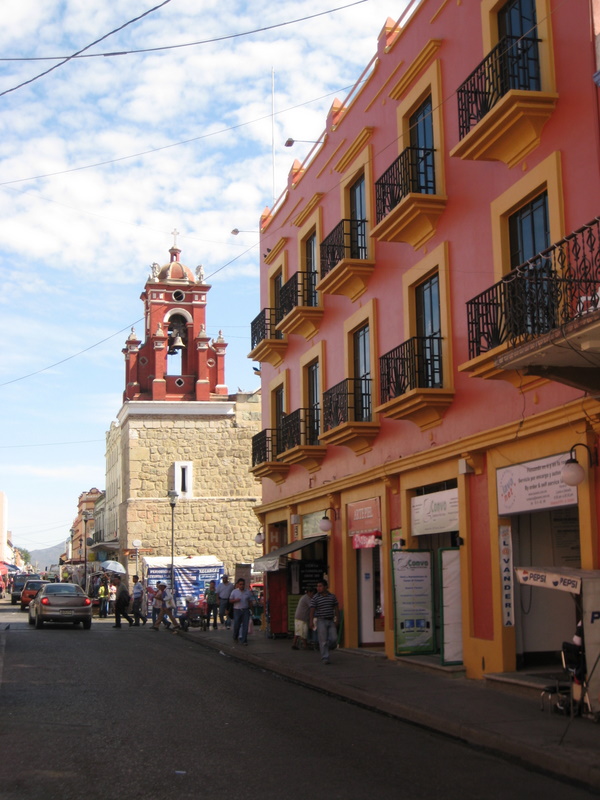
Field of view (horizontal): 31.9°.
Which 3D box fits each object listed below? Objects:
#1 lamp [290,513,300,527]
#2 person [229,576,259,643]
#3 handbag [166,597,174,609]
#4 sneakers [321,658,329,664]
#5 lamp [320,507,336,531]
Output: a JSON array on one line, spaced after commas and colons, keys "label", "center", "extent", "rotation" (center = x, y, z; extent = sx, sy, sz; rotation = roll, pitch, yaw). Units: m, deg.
[{"label": "lamp", "center": [-0.136, 2.959, 25.957], "extent": [0.253, 0.256, 0.260], "rotation": [4, -7, -25]}, {"label": "person", "center": [-1.294, 4.602, 22.950], "extent": [0.462, 1.432, 1.342], "rotation": [1, -13, -4]}, {"label": "handbag", "center": [-3.685, 5.786, 29.924], "extent": [0.154, 0.333, 0.362], "rotation": [-6, -14, 23]}, {"label": "sneakers", "center": [0.424, 4.319, 17.373], "extent": [0.098, 0.082, 0.163], "rotation": [0, -31, -5]}, {"label": "lamp", "center": [0.581, 2.652, 23.042], "extent": [0.257, 0.560, 0.838], "rotation": [1, -13, -7]}]
